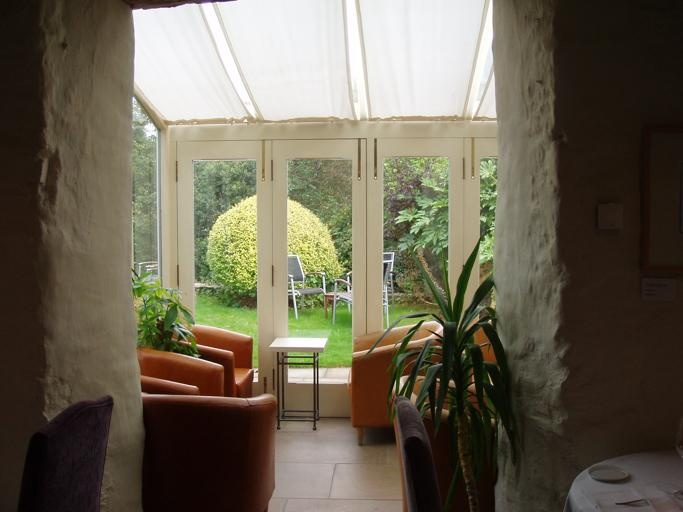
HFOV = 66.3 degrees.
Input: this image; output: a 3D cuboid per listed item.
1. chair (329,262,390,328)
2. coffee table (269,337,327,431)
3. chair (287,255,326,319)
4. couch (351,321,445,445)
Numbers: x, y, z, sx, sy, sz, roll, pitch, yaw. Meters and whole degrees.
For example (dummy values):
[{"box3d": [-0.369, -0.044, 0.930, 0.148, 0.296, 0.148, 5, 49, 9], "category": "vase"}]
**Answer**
[{"box3d": [0.142, 0.374, 4.967, 0.545, 0.861, 0.509, 1, -4, -9], "category": "chair"}, {"box3d": [-0.389, 1.153, 4.816, 0.512, 0.746, 0.488, 0, 4, -1], "category": "coffee table"}, {"box3d": [-0.373, 0.261, 4.985, 0.410, 0.658, 0.455, -1, 1, -29], "category": "chair"}, {"box3d": [0.502, 1.092, 4.784, 0.903, 1.259, 1.079, 0, -3, 3], "category": "couch"}]
